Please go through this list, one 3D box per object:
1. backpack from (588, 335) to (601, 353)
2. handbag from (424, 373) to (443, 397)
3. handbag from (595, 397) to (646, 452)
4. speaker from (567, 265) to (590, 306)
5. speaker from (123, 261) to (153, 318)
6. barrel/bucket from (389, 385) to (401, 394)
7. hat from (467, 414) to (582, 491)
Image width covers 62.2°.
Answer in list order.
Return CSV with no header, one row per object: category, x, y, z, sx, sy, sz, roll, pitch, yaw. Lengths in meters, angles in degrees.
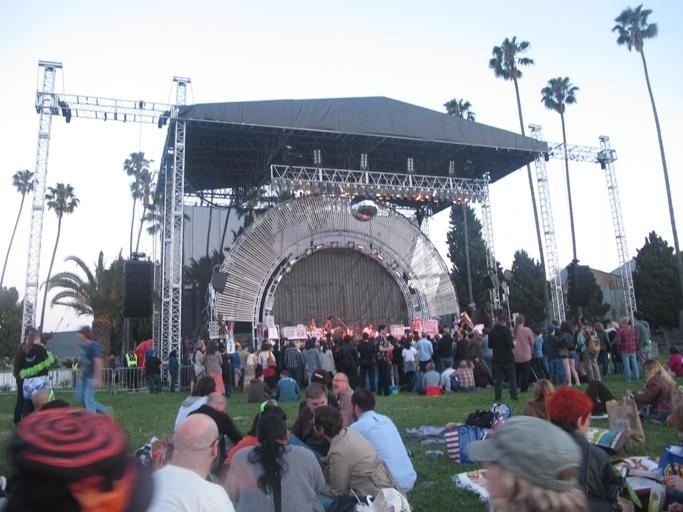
backpack,6.667,2.337,15.001,0.205,0.556,0.454,-6,-9,44
handbag,2.524,3.478,15.700,0.556,0.921,0.496,0,-2,14
handbag,4.022,2.391,8.097,0.426,0.679,1.167,-9,-13,34
speaker,9.915,1.272,23.540,1.021,1.635,1.076,5,4,-31
speaker,-7.275,1.083,20.155,0.942,2.073,0.850,3,-11,-26
barrel/bucket,1.659,4.232,17.842,0.280,0.221,0.298,-1,-8,0
hat,1.051,1.059,3.206,0.639,0.347,0.487,7,9,32
